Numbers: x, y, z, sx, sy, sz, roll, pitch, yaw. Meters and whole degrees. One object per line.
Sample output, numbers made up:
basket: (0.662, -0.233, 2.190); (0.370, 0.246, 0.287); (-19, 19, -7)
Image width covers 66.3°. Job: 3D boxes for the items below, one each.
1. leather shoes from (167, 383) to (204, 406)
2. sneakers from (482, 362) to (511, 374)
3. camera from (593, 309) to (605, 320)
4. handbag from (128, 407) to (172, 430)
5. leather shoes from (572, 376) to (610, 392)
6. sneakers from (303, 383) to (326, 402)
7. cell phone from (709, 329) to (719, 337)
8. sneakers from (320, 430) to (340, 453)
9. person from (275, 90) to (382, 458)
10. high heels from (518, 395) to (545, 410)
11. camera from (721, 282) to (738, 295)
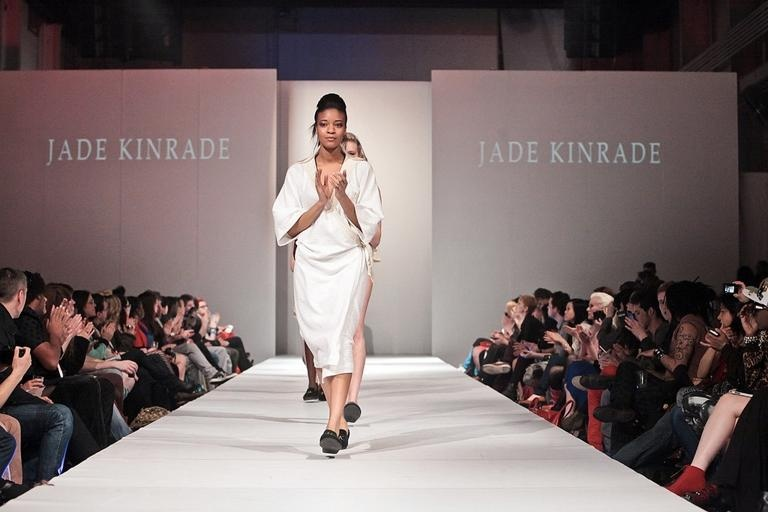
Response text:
leather shoes: (-1.985, 1.366, 5.969); (0.161, 0.228, 0.550); (1, -2, 3)
sneakers: (1.216, 1.201, 6.299); (0.306, 0.121, 0.137); (-2, -7, 19)
camera: (2.194, 0.597, 5.970); (0.089, 0.068, 0.089); (2, 2, 32)
handbag: (-1.907, 1.317, 4.781); (0.228, 0.131, 0.339); (-1, 4, 1)
leather shoes: (1.660, 1.022, 4.716); (0.271, 0.106, 0.112); (1, 19, 24)
sneakers: (-0.575, 1.167, 5.092); (0.146, 0.160, 0.419); (0, 0, 7)
cell phone: (2.346, 0.540, 4.159); (0.059, 0.041, 0.073); (1, 4, 23)
sneakers: (-0.300, 1.053, 3.352); (0.072, 0.161, 0.068); (3, 46, -1)
person: (-0.396, 0.051, 3.734); (0.600, 2.126, 0.641); (1, 5, 26)
high heels: (1.421, 1.379, 5.622); (0.238, 0.110, 0.132); (0, -5, 20)
camera: (2.455, 0.234, 4.152); (0.139, 0.107, 0.079); (0, -1, 9)
